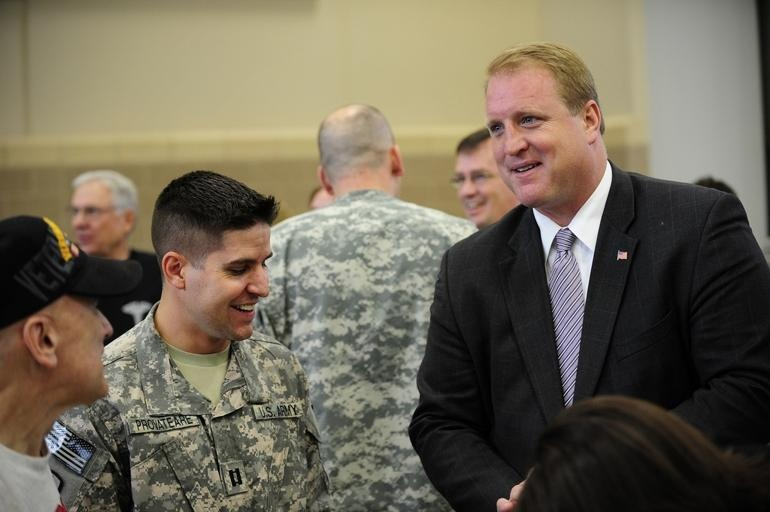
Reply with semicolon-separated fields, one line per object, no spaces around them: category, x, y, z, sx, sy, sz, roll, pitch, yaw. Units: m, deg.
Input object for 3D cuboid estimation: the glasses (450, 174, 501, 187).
glasses;0.571;-0.471;5.373;0.194;0.060;0.234;1;-4;10
